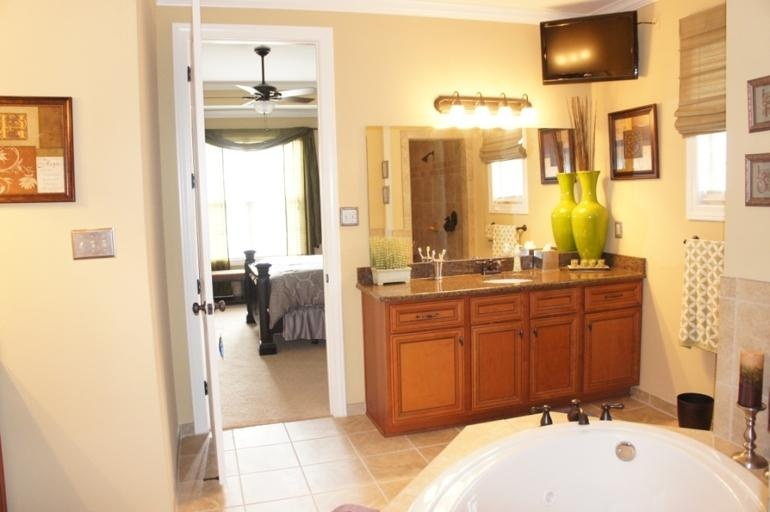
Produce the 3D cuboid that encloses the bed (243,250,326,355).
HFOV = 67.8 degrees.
[{"bbox_3d":[-1.296,0.515,7.210,1.070,0.616,1.380,-2,7,-18],"label":"bed"}]

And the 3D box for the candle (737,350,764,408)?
[{"bbox_3d":[1.919,0.641,2.995,0.118,0.299,0.140,1,9,31],"label":"candle"}]

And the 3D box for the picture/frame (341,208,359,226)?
[{"bbox_3d":[-0.309,-0.337,4.825,0.156,0.150,0.021,-1,8,-19],"label":"picture/frame"}]

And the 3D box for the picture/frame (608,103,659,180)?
[{"bbox_3d":[2.159,-0.975,4.949,0.137,0.612,0.494,-6,8,-19],"label":"picture/frame"}]

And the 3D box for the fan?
[{"bbox_3d":[-1.506,-2.116,6.936,1.081,0.776,1.197,-12,24,-29],"label":"fan"}]

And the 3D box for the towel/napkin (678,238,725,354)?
[{"bbox_3d":[2.416,0.314,4.369,0.284,0.897,0.371,-9,9,-38],"label":"towel/napkin"}]

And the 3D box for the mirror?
[{"bbox_3d":[0.701,-0.562,5.061,1.278,1.420,0.068,-2,10,-10],"label":"mirror"}]

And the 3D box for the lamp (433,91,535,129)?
[{"bbox_3d":[0.952,-1.293,5.124,0.879,0.307,0.207,-3,6,-10],"label":"lamp"}]

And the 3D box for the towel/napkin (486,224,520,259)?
[{"bbox_3d":[1.072,-0.142,5.208,0.292,0.297,0.091,1,3,-13],"label":"towel/napkin"}]

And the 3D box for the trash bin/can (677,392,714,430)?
[{"bbox_3d":[2.374,1.176,4.454,0.273,0.223,0.303,0,9,-4],"label":"trash bin/can"}]

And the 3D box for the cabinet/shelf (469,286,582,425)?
[{"bbox_3d":[1.072,0.763,4.546,1.122,1.042,0.571,-2,2,-18],"label":"cabinet/shelf"}]

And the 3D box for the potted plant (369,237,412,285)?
[{"bbox_3d":[0.024,0.047,4.833,0.423,0.394,0.148,0,1,-8],"label":"potted plant"}]

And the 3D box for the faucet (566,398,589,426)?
[{"bbox_3d":[1.150,0.902,3.357,0.094,0.169,0.177,0,0,-13],"label":"faucet"}]
